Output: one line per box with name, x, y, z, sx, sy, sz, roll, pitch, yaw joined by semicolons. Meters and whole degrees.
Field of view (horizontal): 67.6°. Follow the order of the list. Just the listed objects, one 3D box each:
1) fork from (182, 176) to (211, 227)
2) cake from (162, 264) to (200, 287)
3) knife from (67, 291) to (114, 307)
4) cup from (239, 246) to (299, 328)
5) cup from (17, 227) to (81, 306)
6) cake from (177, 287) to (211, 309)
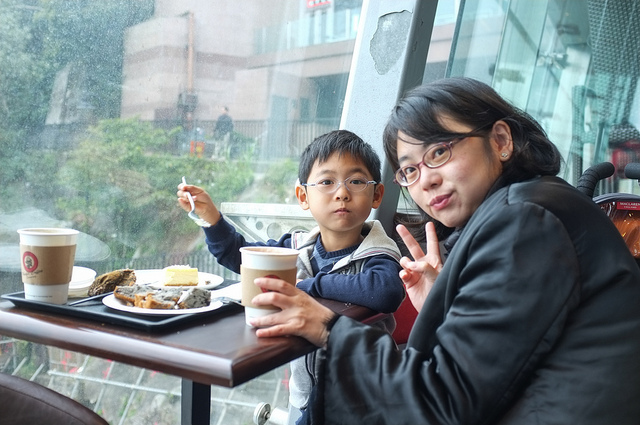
fork;-0.443;-0.029;1.646;0.045;0.171;0.095;-17;3;18
cake;-0.419;0.187;1.440;0.108;0.054;0.118;5;-2;-17
knife;-0.596;0.226;1.239;0.097;0.009;0.009;-17;48;-37
cup;-0.132;0.167;1.178;0.141;0.152;0.141;3;1;0
cup;-0.687;0.146;1.242;0.149;0.191;0.156;1;-2;0
cake;-0.311;0.216;1.201;0.043;0.029;0.065;6;0;17
